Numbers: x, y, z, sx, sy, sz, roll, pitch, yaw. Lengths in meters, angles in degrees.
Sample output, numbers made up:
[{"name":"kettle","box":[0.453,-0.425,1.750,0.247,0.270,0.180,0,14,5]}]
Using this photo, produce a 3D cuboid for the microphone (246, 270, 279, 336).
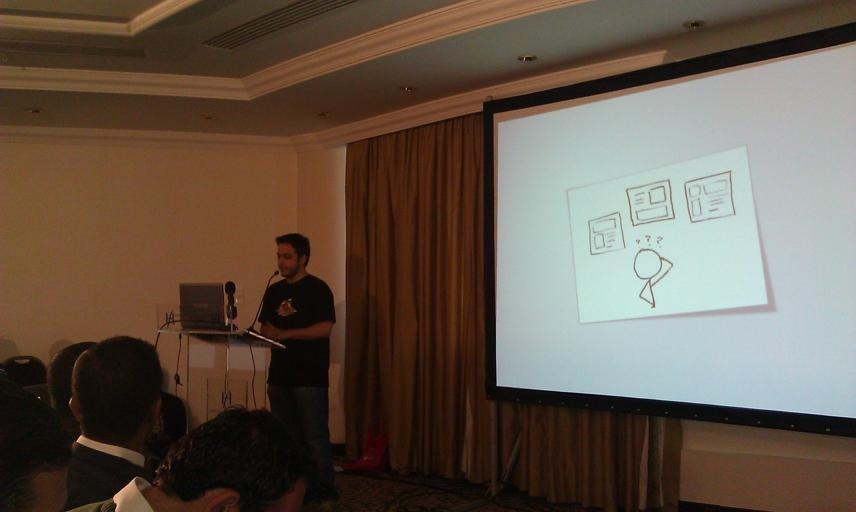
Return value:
[{"name":"microphone","box":[-1.623,0.471,5.901,0.246,0.180,0.659,-9,-17,-33]}]

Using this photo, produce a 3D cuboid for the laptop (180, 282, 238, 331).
[{"name":"laptop","box":[-1.767,0.409,4.866,0.396,0.320,0.208,1,3,12]}]

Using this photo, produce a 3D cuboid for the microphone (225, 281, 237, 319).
[{"name":"microphone","box":[-1.598,0.360,4.879,0.091,0.298,0.249,1,-3,-18]}]
